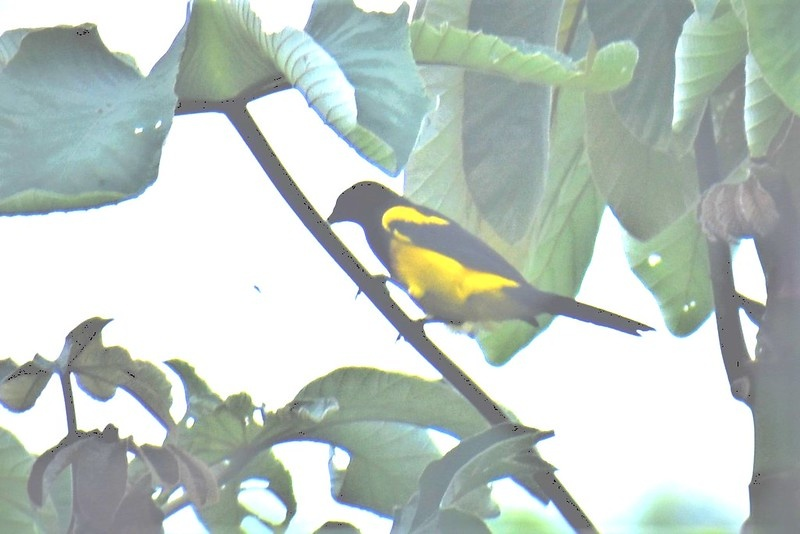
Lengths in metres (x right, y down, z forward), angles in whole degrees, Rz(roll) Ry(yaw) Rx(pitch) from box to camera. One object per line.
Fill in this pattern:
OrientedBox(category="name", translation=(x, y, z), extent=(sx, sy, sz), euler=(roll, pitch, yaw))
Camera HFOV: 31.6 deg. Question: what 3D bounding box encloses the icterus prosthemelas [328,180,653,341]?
OrientedBox(category="icterus prosthemelas", translation=(0.084, -0.002, 1.051), extent=(0.276, 0.126, 0.089), euler=(7, -3, 3))
